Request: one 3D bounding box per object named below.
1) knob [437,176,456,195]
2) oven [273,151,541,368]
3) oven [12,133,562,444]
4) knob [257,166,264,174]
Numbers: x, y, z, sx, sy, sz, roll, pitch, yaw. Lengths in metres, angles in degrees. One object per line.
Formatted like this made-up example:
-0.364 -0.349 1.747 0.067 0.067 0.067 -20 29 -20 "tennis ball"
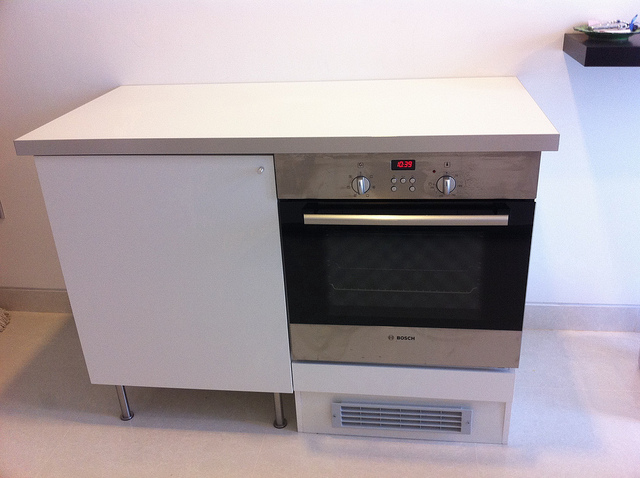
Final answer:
0.384 -0.165 1.610 0.048 0.048 0.025 -1 23 3 "knob"
0.314 -0.001 2.007 0.734 0.772 0.709 2 26 5 "oven"
-0.085 0.192 1.823 1.124 0.763 0.413 2 30 6 "oven"
-0.186 -0.214 1.657 0.015 0.021 0.005 6 15 1 "knob"
